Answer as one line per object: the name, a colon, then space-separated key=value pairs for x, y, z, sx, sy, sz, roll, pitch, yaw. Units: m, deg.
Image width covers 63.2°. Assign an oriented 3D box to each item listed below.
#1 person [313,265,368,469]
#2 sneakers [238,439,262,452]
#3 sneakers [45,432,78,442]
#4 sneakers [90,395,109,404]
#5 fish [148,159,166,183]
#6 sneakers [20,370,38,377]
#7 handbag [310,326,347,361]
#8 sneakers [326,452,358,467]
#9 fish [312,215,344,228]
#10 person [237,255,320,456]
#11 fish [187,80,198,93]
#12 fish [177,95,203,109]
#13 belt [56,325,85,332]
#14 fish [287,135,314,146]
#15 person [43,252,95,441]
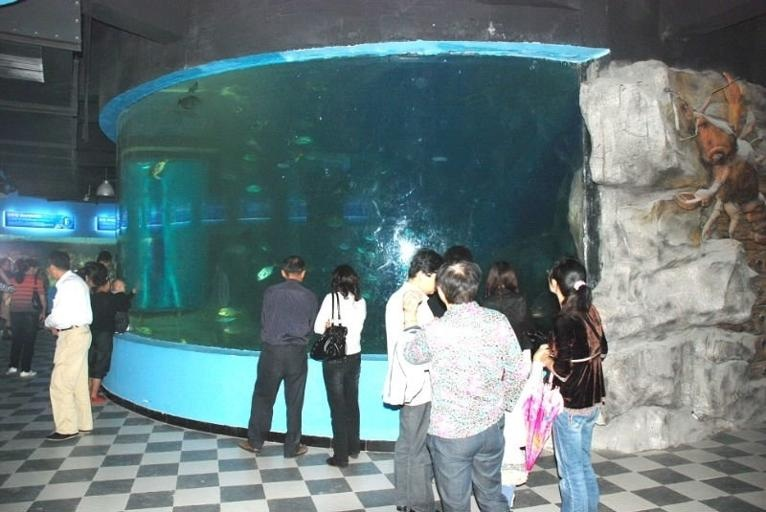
person: x=-0.629 y=1.522 z=8.548 sx=0.716 sy=2.780 sz=0.465 roll=1 pitch=-1 yaw=-19
sneakers: x=-1.924 y=2.716 z=8.928 sx=0.331 sy=0.126 sz=0.184 roll=18 pitch=17 yaw=33
sneakers: x=-4.784 y=2.686 z=9.236 sx=0.426 sy=0.145 sz=0.160 roll=7 pitch=-8 yaw=-27
sneakers: x=-4.964 y=2.503 z=10.867 sx=0.240 sy=0.221 sz=0.122 roll=-2 pitch=7 yaw=-40
fish: x=-4.053 y=-1.547 z=11.177 sx=0.302 sy=0.349 sz=0.151 roll=1 pitch=-1 yaw=-8
sneakers: x=-6.949 y=2.312 z=12.174 sx=0.145 sy=0.109 sz=0.272 roll=2 pitch=3 yaw=44
handbag: x=-0.723 y=1.177 z=8.369 sx=0.458 sy=0.438 sz=0.222 roll=12 pitch=10 yaw=-6
sneakers: x=-0.554 y=2.859 z=8.714 sx=0.468 sy=0.184 sz=0.167 roll=2 pitch=6 yaw=3
fish: x=-1.693 y=-1.080 z=20.141 sx=0.768 sy=0.171 sz=0.659 roll=-2 pitch=15 yaw=-15
person: x=-1.437 y=1.428 z=8.881 sx=0.959 sy=2.859 sz=0.486 roll=1 pitch=-1 yaw=-8
fish: x=-3.341 y=-2.925 z=10.901 sx=0.098 sy=0.069 sz=0.418 roll=22 pitch=-27 yaw=-28
fish: x=-3.518 y=-2.775 z=11.224 sx=0.162 sy=0.225 sz=0.443 roll=12 pitch=19 yaw=32
belt: x=-4.741 y=1.100 z=9.328 sx=0.467 sy=0.110 sz=0.178 roll=0 pitch=-1 yaw=13
fish: x=-2.189 y=-3.098 z=16.620 sx=0.639 sy=0.251 sz=0.847 roll=0 pitch=-1 yaw=-8
person: x=-4.764 y=1.328 z=9.438 sx=0.657 sy=2.788 sz=0.485 roll=1 pitch=-2 yaw=-30
